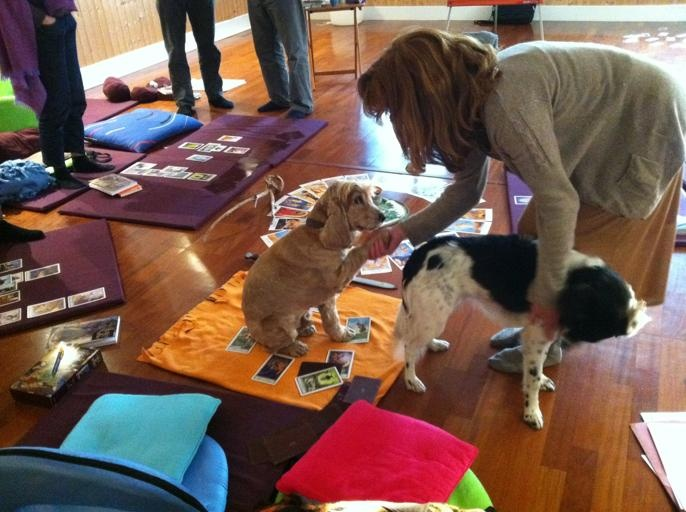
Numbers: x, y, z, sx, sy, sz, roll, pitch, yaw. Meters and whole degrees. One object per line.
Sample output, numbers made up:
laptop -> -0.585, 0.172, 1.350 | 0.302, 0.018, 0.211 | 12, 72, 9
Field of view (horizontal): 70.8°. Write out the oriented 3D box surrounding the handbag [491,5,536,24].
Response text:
handbag -> 3.389, -4.690, 9.397 | 0.555, 0.157, 0.384 | 2, 6, 15

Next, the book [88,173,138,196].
book -> -2.239, -0.692, 4.708 | 0.327, 0.071, 0.321 | 24, 37, 31

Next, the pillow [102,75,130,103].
pillow -> -3.257, -2.370, 6.971 | 0.373, 0.388, 0.216 | -11, 35, -1

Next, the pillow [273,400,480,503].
pillow -> 0.148, 0.805, 1.887 | 0.614, 0.117, 0.494 | 8, 26, 26

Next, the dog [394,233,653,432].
dog -> 0.810, 0.349, 2.321 | 1.213, 0.752, 0.366 | 11, 24, 32

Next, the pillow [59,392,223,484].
pillow -> -0.979, 0.926, 2.412 | 0.690, 0.738, 0.194 | 27, 82, 24
